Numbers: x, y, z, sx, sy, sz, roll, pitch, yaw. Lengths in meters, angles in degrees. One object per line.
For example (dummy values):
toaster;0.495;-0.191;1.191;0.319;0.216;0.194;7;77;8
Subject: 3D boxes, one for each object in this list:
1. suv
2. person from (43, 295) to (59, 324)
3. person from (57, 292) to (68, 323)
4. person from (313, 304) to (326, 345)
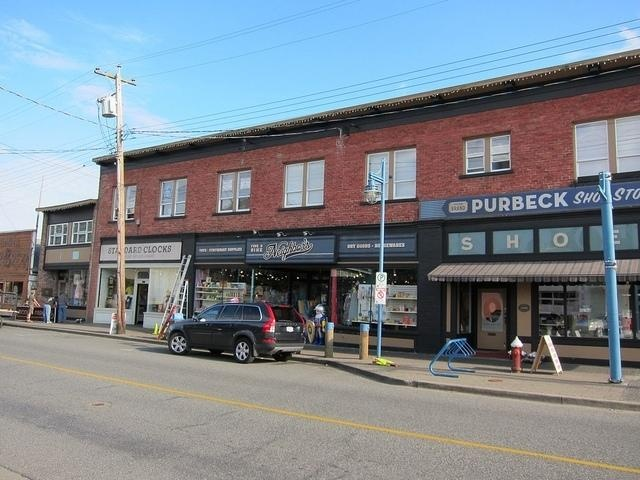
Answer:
suv;-2.949;3.039;17.736;4.176;1.373;1.964;0;-8;25
person;-16.210;4.175;31.200;0.656;1.367;1.955;4;-4;-26
person;-15.505;4.040;31.095;0.462;1.636;1.186;4;-4;-26
person;0.002;3.591;22.309;0.340;1.644;0.725;4;-4;-32
